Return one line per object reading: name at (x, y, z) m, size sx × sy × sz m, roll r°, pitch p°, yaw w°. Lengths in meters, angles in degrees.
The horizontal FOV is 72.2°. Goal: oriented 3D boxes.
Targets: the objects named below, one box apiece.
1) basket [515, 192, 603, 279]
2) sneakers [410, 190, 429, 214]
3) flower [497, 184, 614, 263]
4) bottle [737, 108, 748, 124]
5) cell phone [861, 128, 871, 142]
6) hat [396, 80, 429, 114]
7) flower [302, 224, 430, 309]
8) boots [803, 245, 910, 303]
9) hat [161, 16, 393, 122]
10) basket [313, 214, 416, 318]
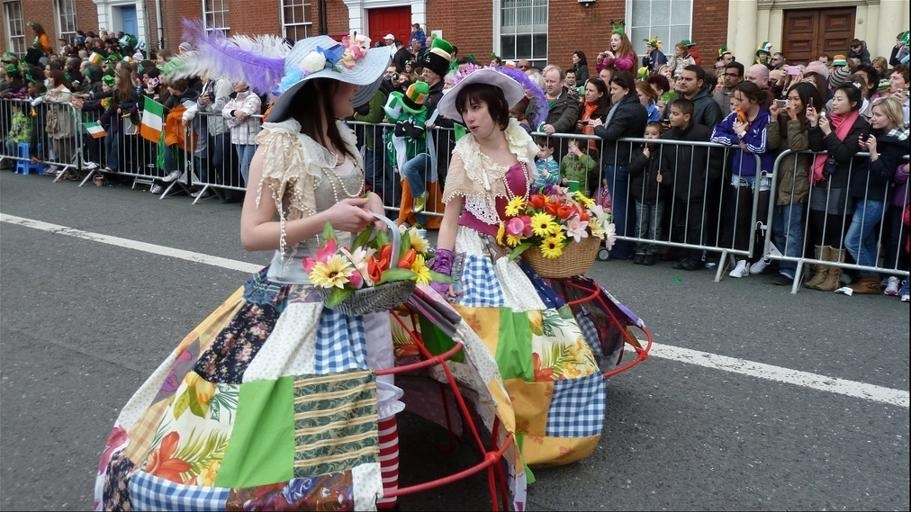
basket at (0.803, -0.164, 4.997) m, size 0.702 × 0.336 × 0.531 m, roll -4°, pitch 4°, yaw -2°
sneakers at (-0.529, -0.843, 9.808) m, size 0.160 × 0.276 × 0.416 m, roll 1°, pitch 37°, yaw 34°
flower at (0.821, -0.187, 5.153) m, size 0.954 × 0.493 × 0.853 m, roll 2°, pitch -15°, yaw -35°
bottle at (3.750, -1.831, 8.160) m, size 0.127 × 0.183 × 0.148 m, roll 3°, pitch 12°, yaw 10°
cell phone at (4.931, -1.455, 7.508) m, size 0.116 × 0.157 × 0.148 m, roll 8°, pitch 14°, yaw 33°
hat at (-0.652, -2.448, 9.769) m, size 0.471 × 0.466 × 0.288 m, roll 21°, pitch -18°, yaw -5°
flower at (-0.551, 0.093, 3.867) m, size 0.631 × 0.425 × 0.620 m, roll -1°, pitch 12°, yaw -7°
boots at (4.942, 0.184, 7.770) m, size 1.015 × 0.546 × 0.469 m, roll 6°, pitch 13°, yaw 22°
hat at (-1.188, -1.288, 4.193) m, size 1.199 × 0.493 × 0.787 m, roll 0°, pitch 8°, yaw -7°
basket at (-0.649, 0.010, 3.949) m, size 0.650 × 0.488 × 0.619 m, roll 6°, pitch 10°, yaw 39°
